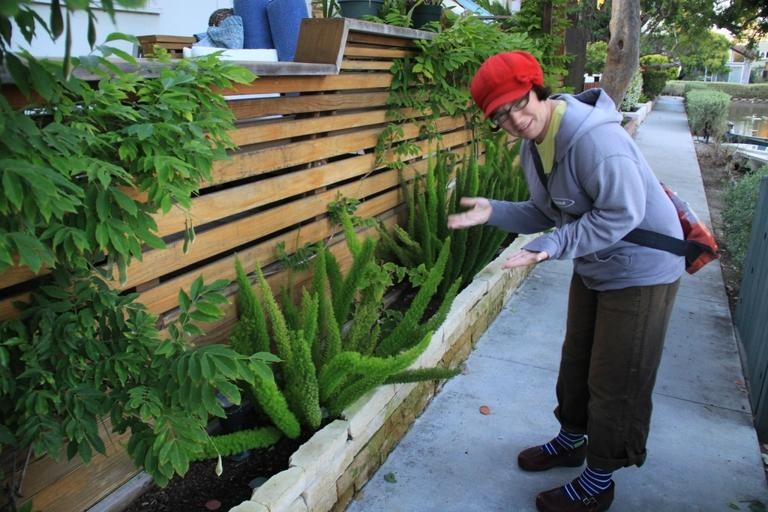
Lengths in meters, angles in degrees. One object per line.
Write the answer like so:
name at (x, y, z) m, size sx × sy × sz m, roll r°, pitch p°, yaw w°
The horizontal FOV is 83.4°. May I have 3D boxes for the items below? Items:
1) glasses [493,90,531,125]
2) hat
glasses at (0.508, -0.579, 1.705) m, size 0.122 × 0.036 × 0.114 m, roll -44°, pitch 11°, yaw -32°
hat at (0.484, -0.666, 1.684) m, size 0.215 × 0.155 × 0.300 m, roll -24°, pitch 7°, yaw 30°
